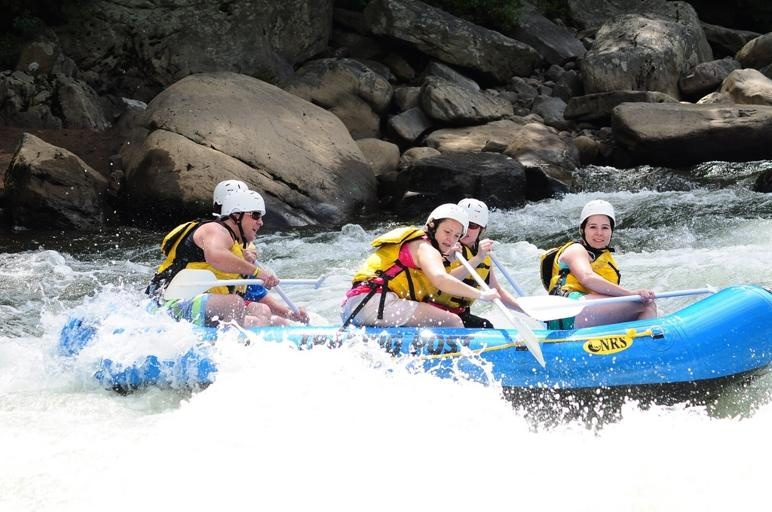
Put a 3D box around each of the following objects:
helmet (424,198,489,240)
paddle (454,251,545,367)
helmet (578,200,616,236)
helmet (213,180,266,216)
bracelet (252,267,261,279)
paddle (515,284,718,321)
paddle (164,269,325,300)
[{"bbox_3d":[0.642,-0.401,7.495,0.519,0.367,0.383,-19,42,33],"label":"helmet"},{"bbox_3d":[0.955,0.311,7.257,0.355,0.092,1.869,-28,43,-7],"label":"paddle"},{"bbox_3d":[2.102,-0.433,7.753,0.340,0.242,0.484,2,-20,5],"label":"helmet"},{"bbox_3d":[-1.506,-0.595,7.881,0.502,0.244,0.352,10,9,10],"label":"helmet"},{"bbox_3d":[-1.311,0.166,7.752,0.036,0.085,0.075,26,-14,-8],"label":"bracelet"},{"bbox_3d":[2.225,0.457,7.455,1.665,0.161,0.319,-5,32,-5],"label":"paddle"},{"bbox_3d":[-1.520,0.306,8.047,1.502,0.203,0.335,2,44,-4],"label":"paddle"}]
